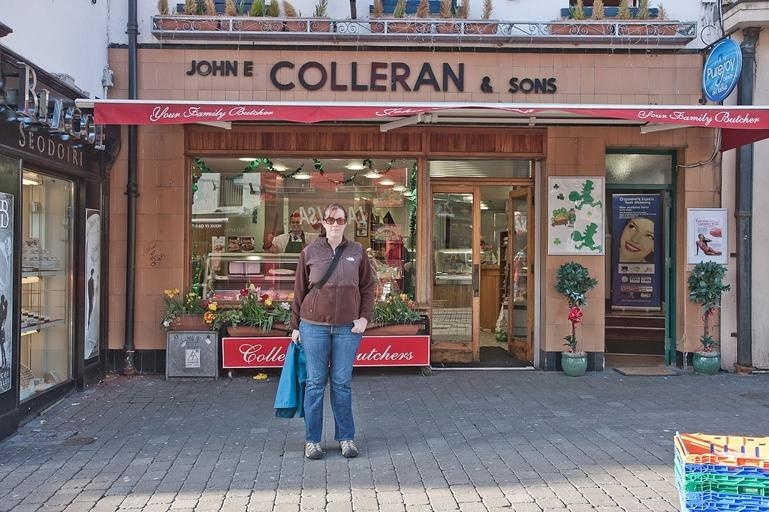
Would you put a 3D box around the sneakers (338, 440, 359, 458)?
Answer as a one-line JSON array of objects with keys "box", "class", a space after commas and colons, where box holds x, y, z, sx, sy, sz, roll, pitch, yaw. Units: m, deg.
[{"box": [-0.399, 2.148, 8.522, 0.213, 0.162, 0.283, -1, 9, -8], "class": "sneakers"}]

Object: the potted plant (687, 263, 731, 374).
[{"box": [5.023, 0.946, 11.724, 0.590, 1.725, 0.449, 3, 9, 16], "class": "potted plant"}]

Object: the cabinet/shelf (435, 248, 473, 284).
[{"box": [1.155, 0.135, 12.434, 0.591, 0.494, 0.190, 0, 2, 1], "class": "cabinet/shelf"}]

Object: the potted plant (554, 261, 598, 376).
[{"box": [2.937, 0.966, 11.710, 0.551, 1.737, 0.496, 7, 12, 39], "class": "potted plant"}]

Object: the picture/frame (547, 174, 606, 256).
[{"box": [3.003, -0.613, 11.829, 1.280, 1.700, 0.067, -1, 1, 0], "class": "picture/frame"}]

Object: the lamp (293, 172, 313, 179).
[{"box": [-1.321, -1.287, 12.032, 0.261, 0.120, 0.047, -2, 9, -11], "class": "lamp"}]

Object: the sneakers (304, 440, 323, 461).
[{"box": [-0.795, 2.147, 8.478, 0.203, 0.182, 0.272, -1, 9, -5], "class": "sneakers"}]

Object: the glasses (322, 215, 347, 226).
[{"box": [-0.553, -0.404, 8.476, 0.239, 0.107, 0.175, -2, 9, -11], "class": "glasses"}]

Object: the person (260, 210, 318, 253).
[{"box": [-1.477, -0.307, 12.094, 0.944, 0.737, 0.492, 1, -5, 1], "class": "person"}]

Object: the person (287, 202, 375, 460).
[{"box": [-0.625, 0.838, 8.455, 0.822, 2.769, 0.594, -1, 9, -8], "class": "person"}]
